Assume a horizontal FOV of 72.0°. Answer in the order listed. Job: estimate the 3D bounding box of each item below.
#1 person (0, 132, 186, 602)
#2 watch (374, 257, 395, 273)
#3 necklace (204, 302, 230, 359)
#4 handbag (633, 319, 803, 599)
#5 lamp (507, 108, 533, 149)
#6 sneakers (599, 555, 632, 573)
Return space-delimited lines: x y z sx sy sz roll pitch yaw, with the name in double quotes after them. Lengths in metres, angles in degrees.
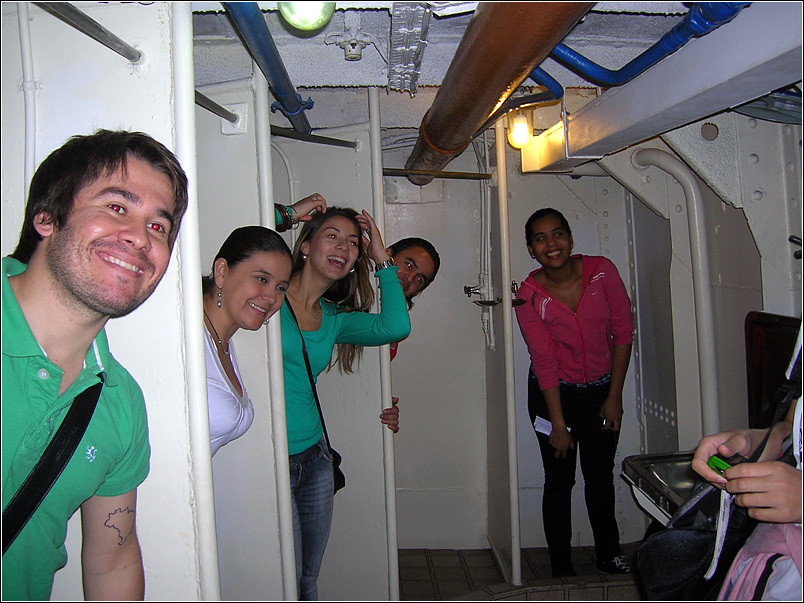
-0.859 0.189 1.567 0.471 1.342 0.252 0 -5 -17 "person"
-0.102 -0.209 3.100 0.094 0.061 0.094 12 -34 50 "watch"
-0.749 0.112 2.242 0.043 0.184 0.117 -32 -25 22 "necklace"
1.003 0.544 1.740 0.516 0.891 0.479 -3 -5 21 "handbag"
0.711 -1.024 3.307 0.147 0.182 0.225 -5 -6 39 "lamp"
1.371 1.684 3.574 0.195 0.099 0.077 2 -7 10 "sneakers"
